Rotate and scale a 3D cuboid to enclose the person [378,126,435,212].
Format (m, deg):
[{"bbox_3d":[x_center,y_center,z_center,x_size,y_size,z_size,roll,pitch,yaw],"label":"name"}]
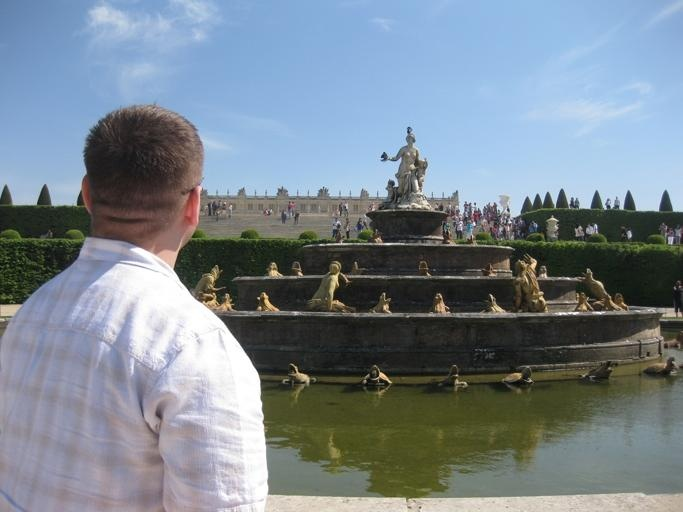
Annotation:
[{"bbox_3d":[1.358,-1.801,21.454,1.004,1.647,1.120,1,8,3],"label":"person"}]
